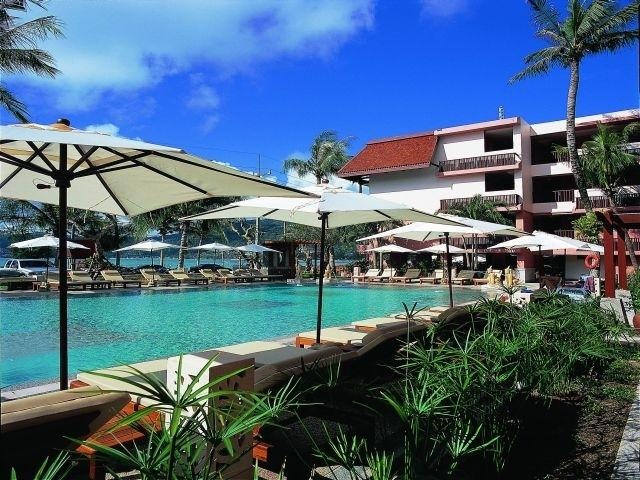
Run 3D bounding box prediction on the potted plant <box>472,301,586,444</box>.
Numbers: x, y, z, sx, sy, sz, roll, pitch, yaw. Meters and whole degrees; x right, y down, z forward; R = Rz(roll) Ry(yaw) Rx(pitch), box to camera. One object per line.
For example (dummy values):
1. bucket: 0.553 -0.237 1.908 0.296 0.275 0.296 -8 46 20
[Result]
1. potted plant: 2.176 1.143 4.589 1.382 0.920 1.413 1 -5 9
